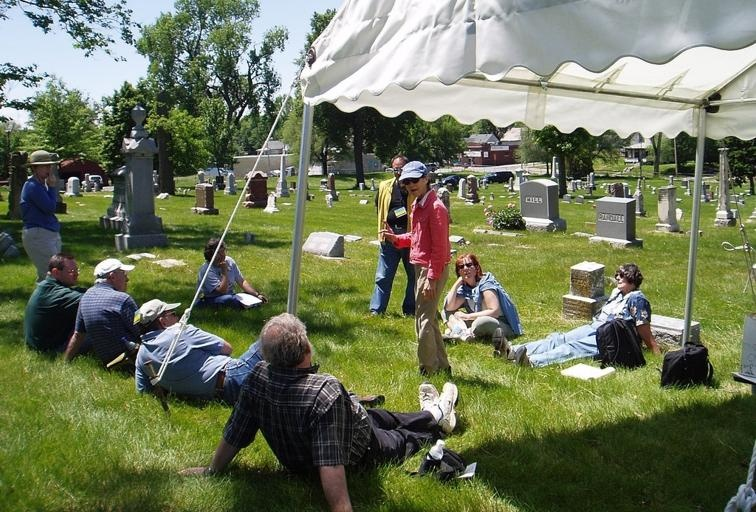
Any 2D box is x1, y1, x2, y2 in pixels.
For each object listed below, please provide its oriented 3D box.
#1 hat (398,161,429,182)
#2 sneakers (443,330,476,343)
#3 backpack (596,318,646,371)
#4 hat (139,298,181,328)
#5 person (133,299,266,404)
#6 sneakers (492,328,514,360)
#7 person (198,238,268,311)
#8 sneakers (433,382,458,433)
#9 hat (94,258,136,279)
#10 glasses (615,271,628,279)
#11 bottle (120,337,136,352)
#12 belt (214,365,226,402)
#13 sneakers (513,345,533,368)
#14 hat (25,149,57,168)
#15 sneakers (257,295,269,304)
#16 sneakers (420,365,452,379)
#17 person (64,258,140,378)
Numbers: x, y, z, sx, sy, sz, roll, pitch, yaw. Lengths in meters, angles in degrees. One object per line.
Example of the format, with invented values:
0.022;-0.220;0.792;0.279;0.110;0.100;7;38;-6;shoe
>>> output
0.530;-1.108;8.296;0.241;0.188;0.337;-5;-4;34;hat
1.284;1.281;9.793;0.214;0.150;0.341;1;-2;-41;sneakers
3.517;1.274;8.974;0.691;0.686;0.414;6;7;22;backpack
-2.880;0.721;8.161;0.513;0.198;0.324;-28;22;-28;hat
-2.250;1.246;8.431;1.135;1.425;2.078;-15;-10;35;person
1.848;1.371;9.192;0.231;0.588;0.186;-3;-4;-31;sneakers
-2.569;0.360;10.955;1.215;1.349;0.954;-12;17;-26;person
0.797;1.780;7.204;0.237;0.191;0.587;27;39;-19;sneakers
-3.560;0.159;8.575;0.562;0.242;0.364;-15;10;-31;hat
3.706;0.288;9.384;0.130;0.137;0.106;-1;4;-30;glasses
-3.320;1.181;8.349;0.199;0.214;0.160;-1;2;29;bottle
-1.934;1.597;7.680;0.105;0.308;0.214;1;-2;-7;belt
2.120;1.447;8.997;0.303;0.281;0.143;1;6;-24;sneakers
-5.945;-1.731;11.111;0.346;0.268;0.494;-2;9;-42;hat
-2.044;0.769;11.194;0.243;0.149;0.159;1;10;8;sneakers
0.810;1.553;8.446;0.466;0.224;0.165;-3;5;4;sneakers
-3.775;0.916;8.530;0.914;1.307;0.736;20;24;16;person
